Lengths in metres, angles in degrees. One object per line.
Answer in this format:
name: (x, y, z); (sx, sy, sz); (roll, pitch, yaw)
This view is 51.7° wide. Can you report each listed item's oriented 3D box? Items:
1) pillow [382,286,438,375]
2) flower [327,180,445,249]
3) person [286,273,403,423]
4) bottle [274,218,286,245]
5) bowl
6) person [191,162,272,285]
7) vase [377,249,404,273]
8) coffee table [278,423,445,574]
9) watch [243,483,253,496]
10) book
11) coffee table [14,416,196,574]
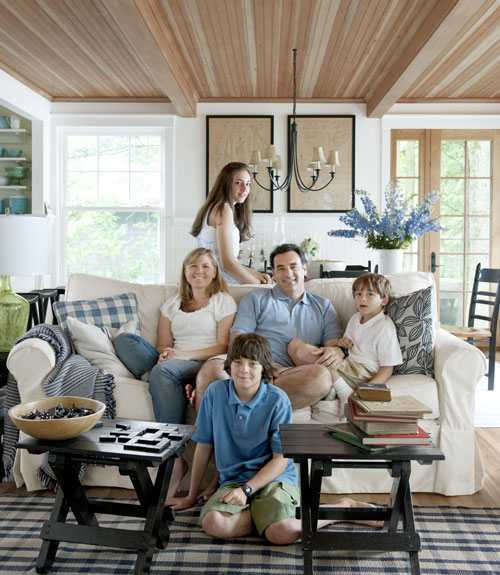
pillow: (0.704, 0.203, 2.287); (0.150, 0.350, 0.319); (24, -31, -38)
flower: (0.867, -0.427, 3.271); (0.653, 0.375, 0.316); (1, 8, 17)
person: (0.529, 0.236, 2.519); (0.575, 0.722, 0.591); (3, 9, -20)
bottle: (0.312, -0.575, 5.269); (0.135, 0.279, 0.087); (-5, 9, -22)
bowl: (-0.530, 0.384, 1.571); (0.163, 0.044, 0.154); (4, -39, 3)
person: (-0.061, -0.380, 3.275); (0.743, 0.830, 0.550); (-1, 3, -7)
vase: (0.869, -0.159, 3.178); (0.135, 0.153, 0.115); (0, 8, 9)
coffee table: (0.317, 0.631, 1.575); (0.437, 0.448, 0.327); (-1, 8, 2)
watch: (-0.007, 0.643, 1.640); (0.034, 0.039, 0.016); (-1, 8, 1)
book: (0.372, 0.380, 1.496); (0.207, 0.068, 0.206); (0, 3, -7)
coffee table: (-0.402, 0.620, 1.586); (0.425, 0.424, 0.344); (0, 8, 10)
